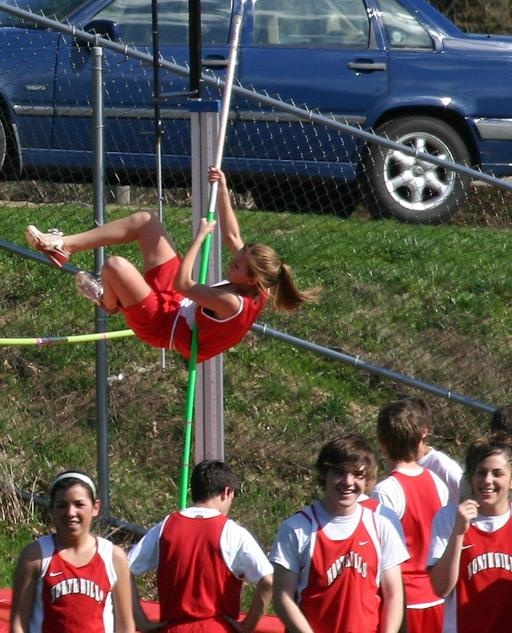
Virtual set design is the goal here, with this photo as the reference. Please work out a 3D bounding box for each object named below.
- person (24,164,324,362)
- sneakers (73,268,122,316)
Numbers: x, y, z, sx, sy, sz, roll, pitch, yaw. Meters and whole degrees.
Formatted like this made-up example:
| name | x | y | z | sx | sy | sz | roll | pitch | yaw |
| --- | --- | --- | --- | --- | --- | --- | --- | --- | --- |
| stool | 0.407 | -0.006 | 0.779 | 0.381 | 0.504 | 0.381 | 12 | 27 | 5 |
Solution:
| name | x | y | z | sx | sy | sz | roll | pitch | yaw |
| --- | --- | --- | --- | --- | --- | --- | --- | --- | --- |
| person | -0.381 | -0.245 | 5.128 | 1.167 | 0.917 | 0.785 | 2 | -1 | 32 |
| sneakers | -0.806 | -0.122 | 5.183 | 0.283 | 0.086 | 0.165 | 31 | 24 | -9 |
